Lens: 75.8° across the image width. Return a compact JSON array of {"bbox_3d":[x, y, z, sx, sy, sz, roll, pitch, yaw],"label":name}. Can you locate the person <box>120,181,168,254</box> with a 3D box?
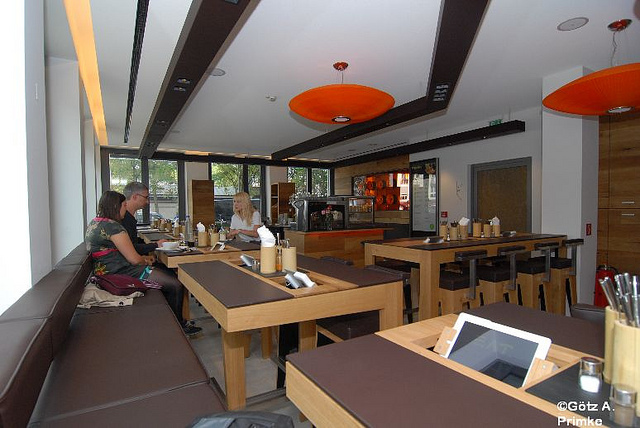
[{"bbox_3d":[-2.061,0.016,4.666,0.553,0.750,0.522,7,7,-32],"label":"person"}]

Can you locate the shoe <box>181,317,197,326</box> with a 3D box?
[{"bbox_3d":[-1.350,1.102,4.198,0.097,0.047,0.128,4,-7,-21],"label":"shoe"}]

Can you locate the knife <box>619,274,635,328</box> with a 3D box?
[{"bbox_3d":[1.333,0.382,1.776,0.037,0.209,0.032,-3,-1,16],"label":"knife"}]

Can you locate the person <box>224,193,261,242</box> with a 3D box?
[{"bbox_3d":[-1.082,0.086,5.809,0.504,0.750,0.497,-2,-2,10],"label":"person"}]

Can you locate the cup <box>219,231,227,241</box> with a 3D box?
[{"bbox_3d":[-1.148,0.278,4.869,0.100,0.121,0.181,-2,3,-27],"label":"cup"}]

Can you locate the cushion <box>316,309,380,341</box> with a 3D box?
[{"bbox_3d":[0.257,0.788,2.954,0.284,0.067,0.302,1,-1,-33],"label":"cushion"}]

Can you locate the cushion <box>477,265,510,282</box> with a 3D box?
[{"bbox_3d":[1.749,0.610,4.208,0.338,0.118,0.268,-4,3,-27],"label":"cushion"}]

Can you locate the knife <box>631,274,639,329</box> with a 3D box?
[{"bbox_3d":[1.384,0.375,1.800,0.025,0.226,0.105,0,4,36],"label":"knife"}]

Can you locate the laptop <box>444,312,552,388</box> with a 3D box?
[{"bbox_3d":[1.004,0.685,2.143,0.599,0.121,0.604,15,-8,2],"label":"laptop"}]

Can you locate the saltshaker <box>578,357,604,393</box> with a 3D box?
[{"bbox_3d":[1.196,0.708,1.813,0.094,0.131,0.094,4,0,2],"label":"saltshaker"}]

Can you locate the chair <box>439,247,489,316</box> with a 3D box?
[{"bbox_3d":[1.328,0.695,4.154,0.454,0.718,0.574,-2,2,-40],"label":"chair"}]

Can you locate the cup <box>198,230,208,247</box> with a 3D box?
[{"bbox_3d":[-1.258,0.264,4.508,0.149,0.218,0.150,0,2,0],"label":"cup"}]

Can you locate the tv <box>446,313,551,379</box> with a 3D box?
[{"bbox_3d":[0.859,0.675,1.950,0.337,0.337,0.068,32,-21,32],"label":"tv"}]

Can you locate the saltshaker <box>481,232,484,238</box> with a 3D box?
[{"bbox_3d":[2.020,0.257,5.090,0.042,0.063,0.067,4,3,43],"label":"saltshaker"}]

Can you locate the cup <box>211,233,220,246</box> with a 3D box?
[{"bbox_3d":[-1.115,0.264,4.411,0.126,0.173,0.108,1,-4,-10],"label":"cup"}]

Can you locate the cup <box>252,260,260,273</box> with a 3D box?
[{"bbox_3d":[-0.487,0.403,3.154,0.051,0.087,0.092,-1,-3,37],"label":"cup"}]
